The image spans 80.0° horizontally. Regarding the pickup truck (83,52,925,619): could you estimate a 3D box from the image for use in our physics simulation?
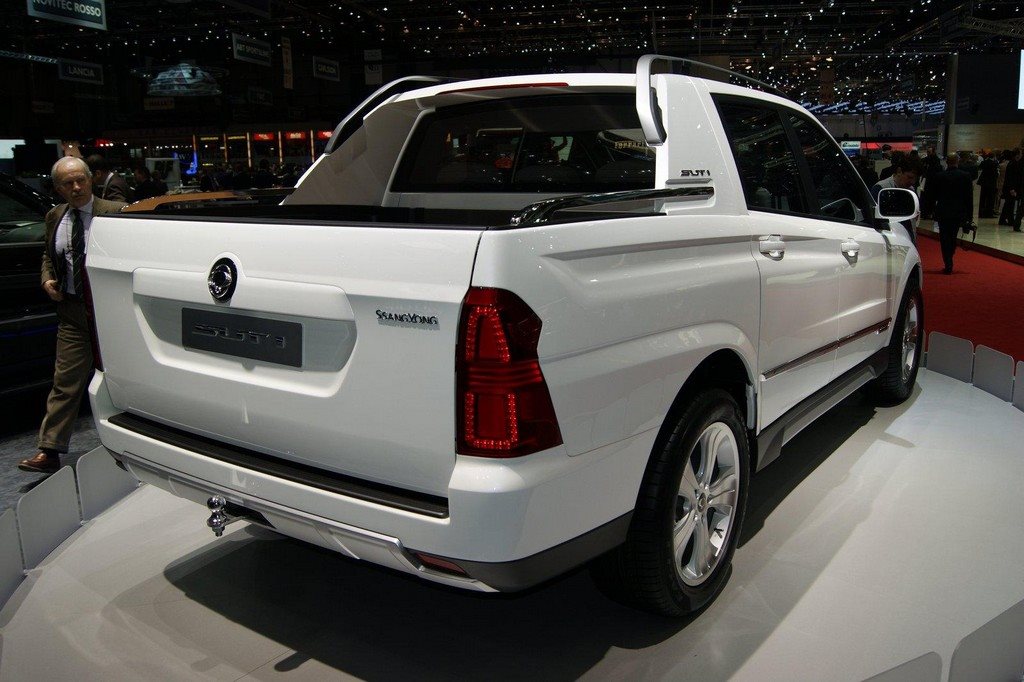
[{"bbox_3d":[0.860,-0.431,4.546,2.961,2.364,5.669,6,17,41],"label":"pickup truck"}]
